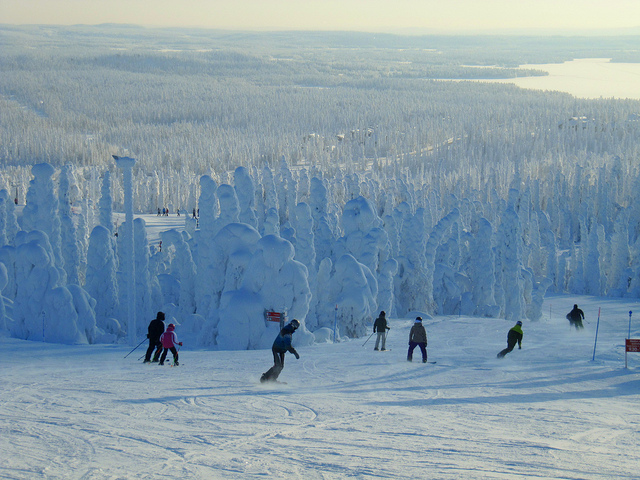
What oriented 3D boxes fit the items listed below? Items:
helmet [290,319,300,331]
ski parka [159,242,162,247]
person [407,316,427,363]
[{"bbox_3d":[-1.532,5.385,72.982,0.449,0.597,0.615,-1,-32,-8],"label":"helmet"},{"bbox_3d":[-16.303,0.420,117.780,0.523,0.558,0.133,10,6,44],"label":"ski parka"},{"bbox_3d":[6.580,6.643,77.025,1.301,3.075,1.012,2,5,4],"label":"person"}]
